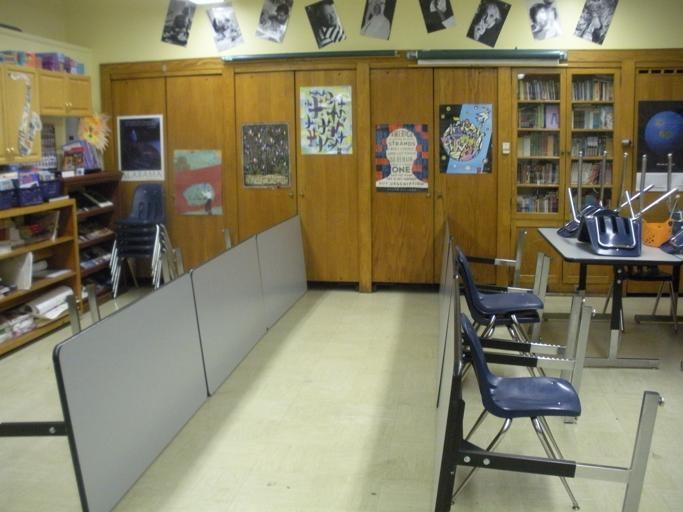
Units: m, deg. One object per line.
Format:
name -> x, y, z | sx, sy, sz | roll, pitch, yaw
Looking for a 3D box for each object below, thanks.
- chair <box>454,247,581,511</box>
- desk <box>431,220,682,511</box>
chair -> 1.223, 0.858, 3.417 | 0.415, 0.640, 1.338 | -4, 10, 7
desk -> 1.140, 0.732, 3.088 | 1.028, 1.258, 2.204 | 2, 14, 12
